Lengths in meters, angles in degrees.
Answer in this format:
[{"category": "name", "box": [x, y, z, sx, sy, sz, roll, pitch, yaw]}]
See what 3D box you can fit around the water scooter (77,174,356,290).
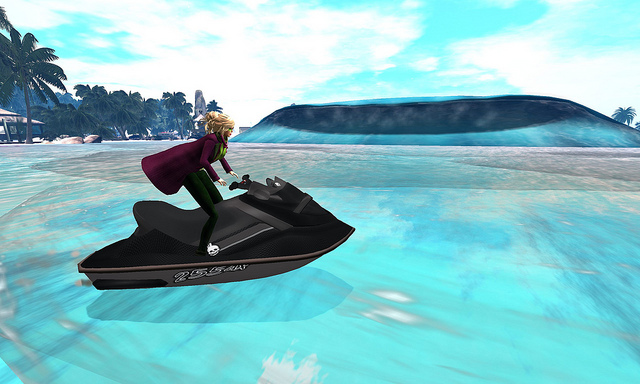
[{"category": "water scooter", "box": [-1.337, 0.549, 4.734, 4.336, 0.873, 1.622, -4, 12, -8]}]
